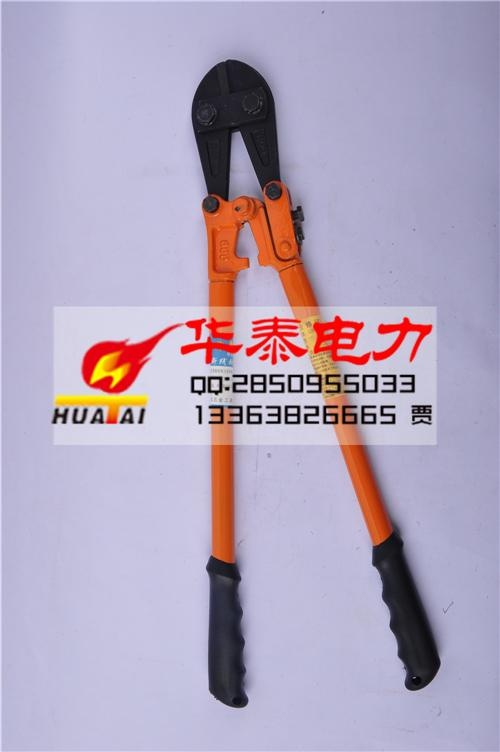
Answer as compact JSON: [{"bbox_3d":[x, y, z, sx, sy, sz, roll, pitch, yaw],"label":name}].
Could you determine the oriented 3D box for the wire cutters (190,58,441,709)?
[{"bbox_3d":[0.069,0.000,1.282,0.383,1.083,0.305,-7,-14,11],"label":"wire cutters"}]
